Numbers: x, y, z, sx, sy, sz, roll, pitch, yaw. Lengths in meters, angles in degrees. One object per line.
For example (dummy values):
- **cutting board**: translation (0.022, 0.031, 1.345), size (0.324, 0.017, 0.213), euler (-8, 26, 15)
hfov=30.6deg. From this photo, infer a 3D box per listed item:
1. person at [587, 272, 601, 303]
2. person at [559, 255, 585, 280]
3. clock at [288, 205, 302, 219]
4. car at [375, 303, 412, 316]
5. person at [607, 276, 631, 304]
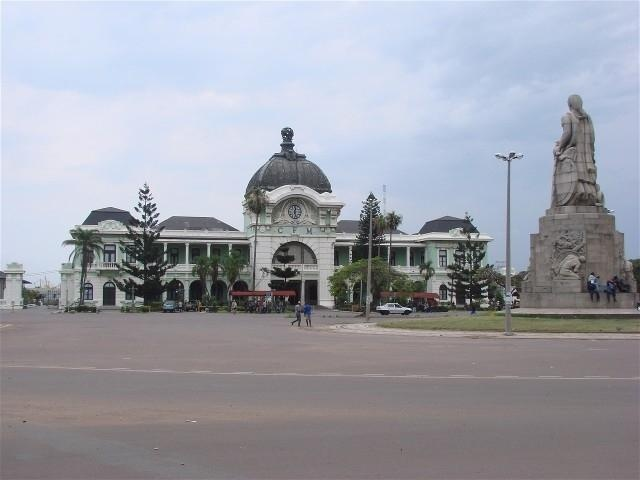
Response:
- **person**: translation (13.268, 2.363, 56.917), size (0.565, 1.368, 1.090), euler (-2, 0, 13)
- **person**: translation (12.324, 1.404, 57.731), size (1.182, 1.147, 1.065), euler (-5, 4, 1)
- **clock**: translation (-2.503, -2.511, 111.964), size (1.271, 1.246, 0.177), euler (-4, 7, -3)
- **car**: translation (5.805, 5.535, 91.626), size (2.223, 0.746, 1.026), euler (-2, -1, 6)
- **person**: translation (14.421, 2.471, 57.033), size (0.970, 1.262, 0.618), euler (24, -14, -9)
